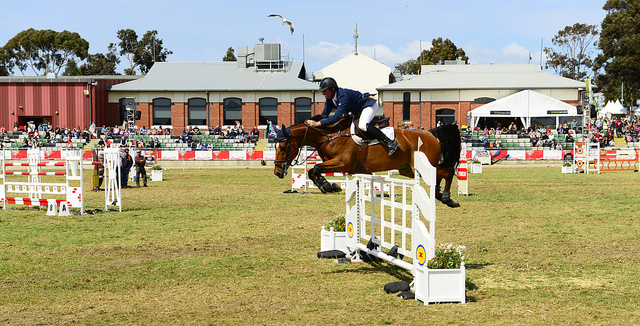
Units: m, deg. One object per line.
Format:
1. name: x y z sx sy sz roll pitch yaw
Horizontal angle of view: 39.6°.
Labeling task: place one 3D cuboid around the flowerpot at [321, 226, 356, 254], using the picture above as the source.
1. flowerpot: 1.117 5.045 58.498 1.874 1.525 1.754 1 -3 -25

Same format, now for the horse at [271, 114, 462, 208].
1. horse: 3.001 -0.246 59.039 12.872 5.358 3.151 1 0 -7

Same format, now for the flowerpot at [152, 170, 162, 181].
1. flowerpot: -13.821 1.048 75.435 0.804 0.904 0.480 -2 3 -16

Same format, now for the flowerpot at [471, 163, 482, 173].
1. flowerpot: 14.001 0.491 79.613 1.087 0.889 0.740 0 -1 -4
